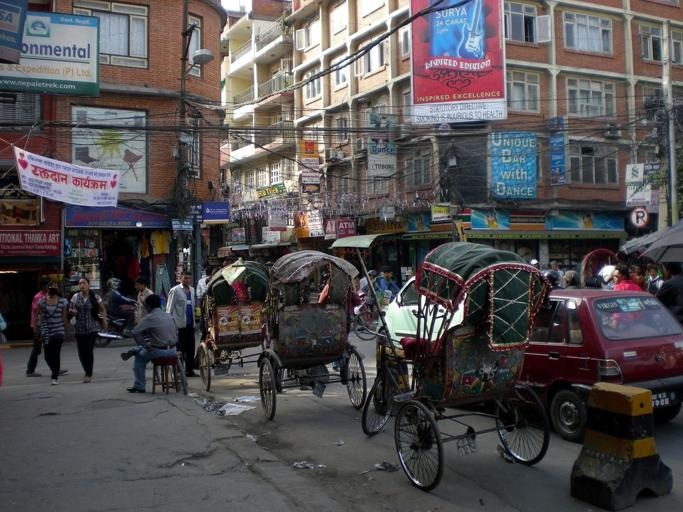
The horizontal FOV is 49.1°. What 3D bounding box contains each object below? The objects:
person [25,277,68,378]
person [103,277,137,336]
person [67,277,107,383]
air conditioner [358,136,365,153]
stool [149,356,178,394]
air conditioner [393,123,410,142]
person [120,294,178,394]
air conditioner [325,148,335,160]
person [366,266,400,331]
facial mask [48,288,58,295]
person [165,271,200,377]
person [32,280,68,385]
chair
[{"bbox_3d":[-6.227,1.694,16.189,0.876,2.330,0.615,9,12,16],"label":"person"},{"bbox_3d":[-6.471,1.530,21.918,0.691,1.757,0.819,1,6,-28],"label":"person"},{"bbox_3d":[-5.418,1.562,16.032,0.696,2.221,0.686,-2,-6,-12],"label":"person"},{"bbox_3d":[0.936,-5.091,34.020,0.319,0.579,0.998,-3,11,-5],"label":"air conditioner"},{"bbox_3d":[-3.470,2.332,14.859,0.436,0.799,0.514,0,-6,-12],"label":"stool"},{"bbox_3d":[2.537,-5.023,30.536,0.715,0.695,1.157,-1,11,4],"label":"air conditioner"},{"bbox_3d":[-3.691,1.736,14.545,0.982,1.958,0.979,2,11,19],"label":"person"},{"bbox_3d":[-0.553,-4.877,36.008,0.284,0.614,0.683,-11,13,-41],"label":"air conditioner"},{"bbox_3d":[1.243,1.523,23.776,0.854,2.285,0.940,-3,6,-27],"label":"person"},{"bbox_3d":[-6.120,0.759,15.898,0.130,0.139,0.156,1,-10,-12],"label":"facial mask"},{"bbox_3d":[-3.405,1.466,16.224,0.613,2.171,0.754,0,0,-27],"label":"person"},{"bbox_3d":[-6.132,1.714,15.950,0.625,2.148,1.193,-6,11,-23],"label":"person"},{"bbox_3d":[1.311,1.314,10.851,0.777,1.625,0.849,-2,4,-15],"label":"chair"}]
